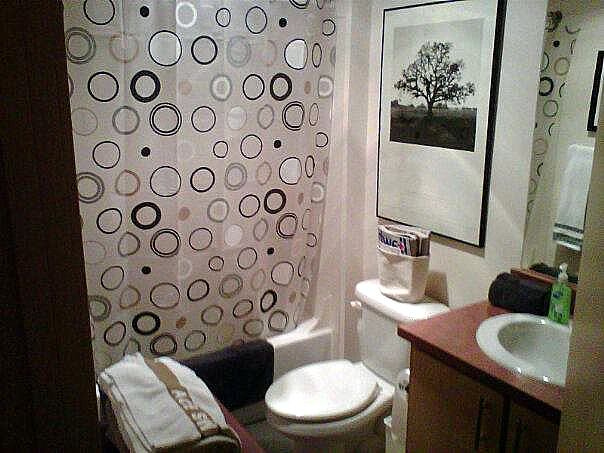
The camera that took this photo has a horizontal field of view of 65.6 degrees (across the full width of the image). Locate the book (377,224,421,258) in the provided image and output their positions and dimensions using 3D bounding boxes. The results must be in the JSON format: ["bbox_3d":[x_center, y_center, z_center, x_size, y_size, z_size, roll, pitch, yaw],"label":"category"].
[{"bbox_3d":[0.415,0.068,2.013,0.091,0.089,0.212,-10,19,-22],"label":"book"}]

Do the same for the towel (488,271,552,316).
[{"bbox_3d":[0.769,0.239,1.658,0.198,0.104,0.113,8,20,34],"label":"towel"}]

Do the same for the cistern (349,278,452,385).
[{"bbox_3d":[0.427,0.435,2.068,0.306,0.442,0.330,-4,17,-24],"label":"cistern"}]

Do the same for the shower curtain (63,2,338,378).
[{"bbox_3d":[-0.350,-0.115,1.921,1.095,1.462,0.092,-13,17,-30],"label":"shower curtain"}]

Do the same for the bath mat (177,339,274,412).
[{"bbox_3d":[-0.305,0.583,1.842,0.317,0.225,0.075,-10,18,-26],"label":"bath mat"}]

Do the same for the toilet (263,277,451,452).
[{"bbox_3d":[0.172,0.566,2.202,0.821,0.894,0.531,-8,18,-27],"label":"toilet"}]

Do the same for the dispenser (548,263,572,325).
[{"bbox_3d":[0.854,0.216,1.520,0.104,0.183,0.065,-15,19,-36],"label":"dispenser"}]
